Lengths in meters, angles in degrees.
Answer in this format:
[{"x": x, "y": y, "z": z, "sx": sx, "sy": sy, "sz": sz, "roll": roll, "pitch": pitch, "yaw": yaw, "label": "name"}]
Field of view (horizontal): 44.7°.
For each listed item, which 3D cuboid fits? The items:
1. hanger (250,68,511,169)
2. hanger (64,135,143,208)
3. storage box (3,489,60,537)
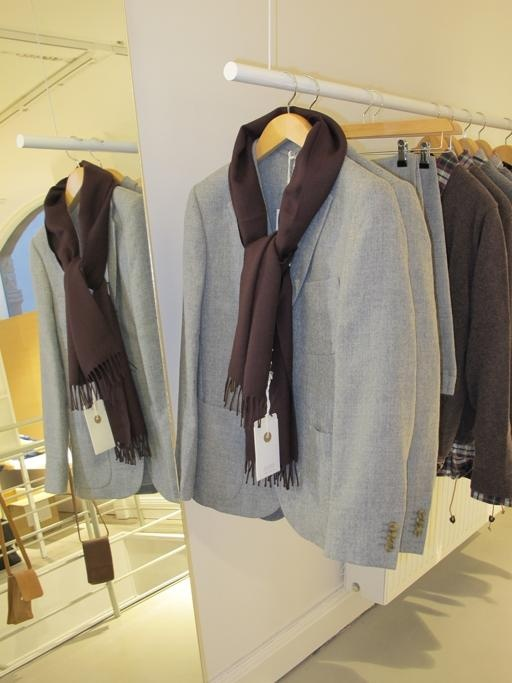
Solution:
[{"x": 0.374, "y": -0.492, "z": 1.397, "sx": 0.219, "sy": 0.153, "sz": 1.126, "roll": 4, "pitch": 14, "yaw": 36, "label": "hanger"}, {"x": -0.328, "y": -0.325, "z": 1.206, "sx": 0.098, "sy": 0.140, "sz": 0.032, "roll": -2, "pitch": 7, "yaw": -38, "label": "hanger"}, {"x": -0.441, "y": 0.314, "z": 1.223, "sx": 0.085, "sy": 0.066, "sz": 0.085, "roll": -23, "pitch": 22, "yaw": -33, "label": "storage box"}]
